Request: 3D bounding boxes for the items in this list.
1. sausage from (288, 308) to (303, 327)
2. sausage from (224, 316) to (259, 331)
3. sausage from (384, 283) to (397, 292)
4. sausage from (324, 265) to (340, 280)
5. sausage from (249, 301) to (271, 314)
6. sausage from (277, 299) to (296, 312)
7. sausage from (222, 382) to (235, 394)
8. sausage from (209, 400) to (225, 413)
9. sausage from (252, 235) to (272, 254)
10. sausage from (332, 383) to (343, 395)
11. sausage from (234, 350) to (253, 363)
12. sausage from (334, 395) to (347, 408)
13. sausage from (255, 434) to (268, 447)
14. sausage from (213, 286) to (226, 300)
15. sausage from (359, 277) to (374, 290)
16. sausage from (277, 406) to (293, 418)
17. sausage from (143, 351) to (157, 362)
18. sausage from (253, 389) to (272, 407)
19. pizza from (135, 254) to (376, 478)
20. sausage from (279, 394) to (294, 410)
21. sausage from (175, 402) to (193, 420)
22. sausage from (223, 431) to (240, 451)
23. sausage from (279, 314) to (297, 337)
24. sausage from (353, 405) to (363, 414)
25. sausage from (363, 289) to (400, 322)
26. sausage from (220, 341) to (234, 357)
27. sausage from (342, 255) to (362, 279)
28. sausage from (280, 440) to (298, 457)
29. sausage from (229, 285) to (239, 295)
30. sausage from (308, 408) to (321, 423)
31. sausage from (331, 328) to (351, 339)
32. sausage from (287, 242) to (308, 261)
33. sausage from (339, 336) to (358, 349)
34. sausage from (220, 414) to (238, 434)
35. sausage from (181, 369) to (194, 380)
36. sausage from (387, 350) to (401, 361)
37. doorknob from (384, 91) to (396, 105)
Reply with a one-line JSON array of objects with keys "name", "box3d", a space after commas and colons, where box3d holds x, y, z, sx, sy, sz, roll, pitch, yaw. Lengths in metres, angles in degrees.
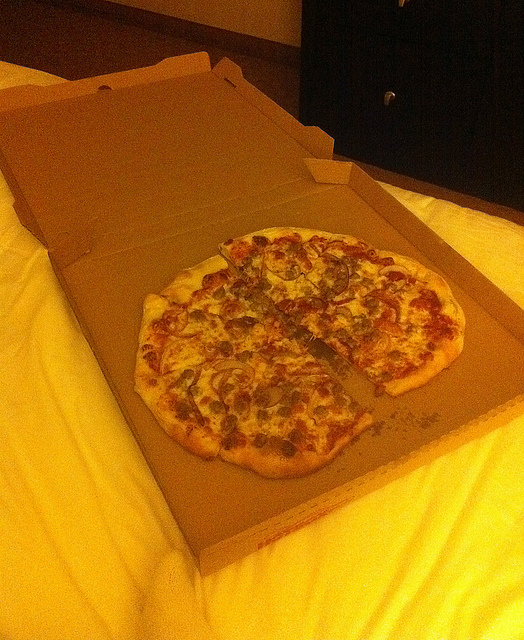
[{"name": "sausage", "box3d": [0.043, -0.004, 0.784, 0.021, 0.005, 0.020, 33, 67, 22]}, {"name": "sausage", "box3d": [-0.026, 0.002, 0.771, 0.032, 0.007, 0.016, -2, 54, -2]}, {"name": "sausage", "box3d": [0.172, -0.045, 0.816, 0.013, 0.003, 0.011, -10, 53, 0]}, {"name": "sausage", "box3d": [0.094, -0.066, 0.833, 0.017, 0.004, 0.015, 17, 59, 19]}, {"name": "sausage", "box3d": [-0.003, -0.017, 0.794, 0.017, 0.005, 0.017, 35, 56, 21]}, {"name": "sausage", "box3d": [0.031, -0.020, 0.799, 0.019, 0.002, 0.015, 10, 48, 11]}, {"name": "sausage", "box3d": [-0.040, 0.077, 0.694, 0.011, 0.003, 0.010, 30, 61, 20]}, {"name": "sausage", "box3d": [-0.046, 0.096, 0.681, 0.013, 0.003, 0.011, -13, 51, -16]}, {"name": "sausage", "box3d": [-0.003, -0.109, 0.865, 0.024, 0.006, 0.024, 0, 60, -9]}, {"name": "sausage", "box3d": [0.085, 0.079, 0.704, 0.011, 0.003, 0.011, 33, 68, 25]}, {"name": "sausage", "box3d": [-0.022, 0.043, 0.734, 0.016, 0.004, 0.013, -8, 54, -3]}, {"name": "sausage", "box3d": [0.088, 0.092, 0.692, 0.012, 0.003, 0.011, 7, 48, 10]}, {"name": "sausage", "box3d": [-0.002, 0.127, 0.650, 0.012, 0.005, 0.015, 12, 28, 27]}, {"name": "sausage", "box3d": [-0.057, -0.036, 0.805, 0.013, 0.005, 0.018, 3, 36, -9]}, {"name": "sausage", "box3d": [0.140, -0.050, 0.820, 0.017, 0.005, 0.016, 33, 64, 28]}, {"name": "sausage", "box3d": [0.026, 0.101, 0.678, 0.012, 0.002, 0.011, 16, 45, 18]}, {"name": "sausage", "box3d": [-0.134, 0.042, 0.728, 0.012, 0.003, 0.010, -11, 76, 0]}, {"name": "sausage", "box3d": [0.000, 0.088, 0.690, 0.018, 0.003, 0.015, 2, 55, 0]}, {"name": "pizza", "box3d": [-0.025, 0.034, 0.732, 0.254, 0.335, 0.041, -22, 34, -11]}, {"name": "sausage", "box3d": [0.026, 0.090, 0.685, 0.014, 0.004, 0.014, -33, 60, -12]}, {"name": "sausage", "box3d": [-0.088, 0.100, 0.673, 0.018, 0.004, 0.015, 5, 51, -2]}, {"name": "sausage", "box3d": [-0.033, 0.128, 0.648, 0.015, 0.008, 0.022, 19, 32, 37]}, {"name": "sausage", "box3d": [0.031, 0.007, 0.773, 0.018, 0.006, 0.021, -28, 60, -15]}, {"name": "sausage", "box3d": [0.105, 0.099, 0.683, 0.008, 0.002, 0.007, 27, 62, 24]}, {"name": "sausage", "box3d": [0.153, -0.019, 0.801, 0.045, 0.005, 0.035, 42, 57, 16]}, {"name": "sausage", "box3d": [-0.045, 0.035, 0.741, 0.017, 0.003, 0.015, -3, 54, -2]}, {"name": "sausage", "box3d": [0.128, -0.072, 0.842, 0.024, 0.005, 0.028, -2, 54, 5]}, {"name": "sausage", "box3d": [0.027, 0.134, 0.642, 0.014, 0.004, 0.012, -8, 49, -7]}, {"name": "sausage", "box3d": [-0.037, -0.040, 0.810, 0.010, 0.003, 0.009, -30, 68, -7]}, {"name": "sausage", "box3d": [0.058, 0.105, 0.673, 0.009, 0.003, 0.013, -19, 58, -23]}, {"name": "sausage", "box3d": [0.098, 0.016, 0.762, 0.015, 0.004, 0.013, 14, 50, 13]}, {"name": "sausage", "box3d": [0.050, -0.095, 0.860, 0.026, 0.007, 0.025, -39, 81, -6]}, {"name": "sausage", "box3d": [0.110, 0.027, 0.752, 0.014, 0.004, 0.013, -28, 53, -31]}, {"name": "sausage", "box3d": [-0.037, 0.112, 0.663, 0.013, 0.004, 0.018, 22, 39, 8]}, {"name": "sausage", "box3d": [-0.087, 0.062, 0.709, 0.009, 0.004, 0.011, 8, 44, 5]}, {"name": "sausage", "box3d": [0.162, 0.042, 0.737, 0.013, 0.003, 0.011, 9, 74, 11]}, {"name": "doorknob", "box3d": [0.311, -0.542, 1.502, 0.019, 0.028, 0.028, 16, 78, 23]}]
